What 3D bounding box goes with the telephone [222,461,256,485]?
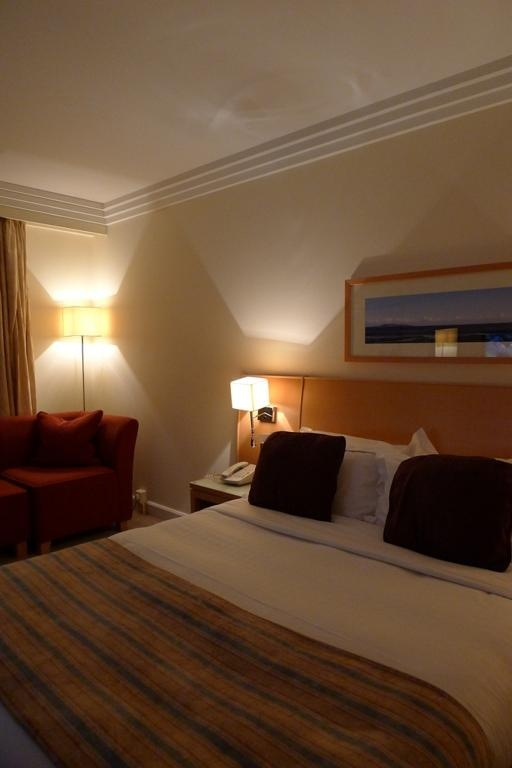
[{"bbox_3d":[-0.095,0.542,3.159,0.133,0.072,0.177,-9,8,38],"label":"telephone"}]
